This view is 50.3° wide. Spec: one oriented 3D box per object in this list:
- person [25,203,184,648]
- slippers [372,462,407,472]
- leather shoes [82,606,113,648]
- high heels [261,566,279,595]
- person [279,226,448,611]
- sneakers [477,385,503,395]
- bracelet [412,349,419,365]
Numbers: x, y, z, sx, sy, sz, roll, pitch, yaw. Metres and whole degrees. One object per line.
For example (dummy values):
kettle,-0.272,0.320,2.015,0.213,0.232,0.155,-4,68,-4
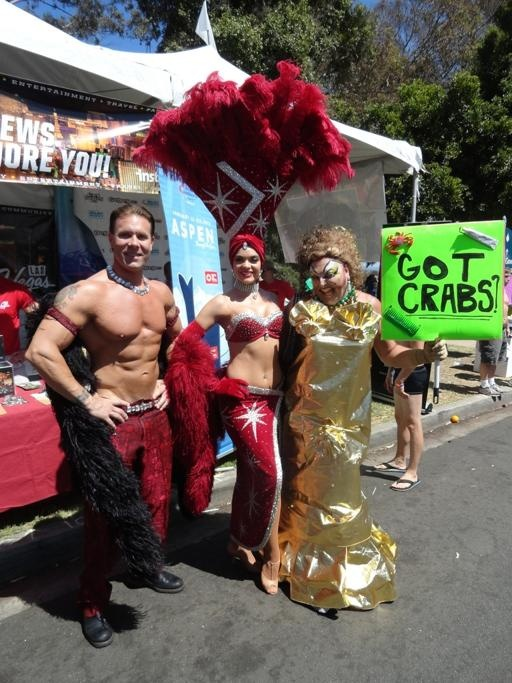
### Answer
person,-0.613,0.342,2.388,0.707,1.859,0.425,-6,9,-34
slippers,1.066,0.998,4.347,0.226,0.052,0.083,1,-6,7
leather shoes,-0.676,1.228,2.346,0.084,0.083,0.211,0,-4,-34
high heels,0.069,1.161,2.658,0.066,0.114,0.165,0,7,-1
person,0.383,0.359,2.547,0.565,1.766,0.433,-1,7,2
sneakers,2.947,0.632,6.879,0.273,0.103,0.106,3,12,29
bracelet,0.760,0.075,2.606,0.018,0.062,0.063,0,-5,-10
